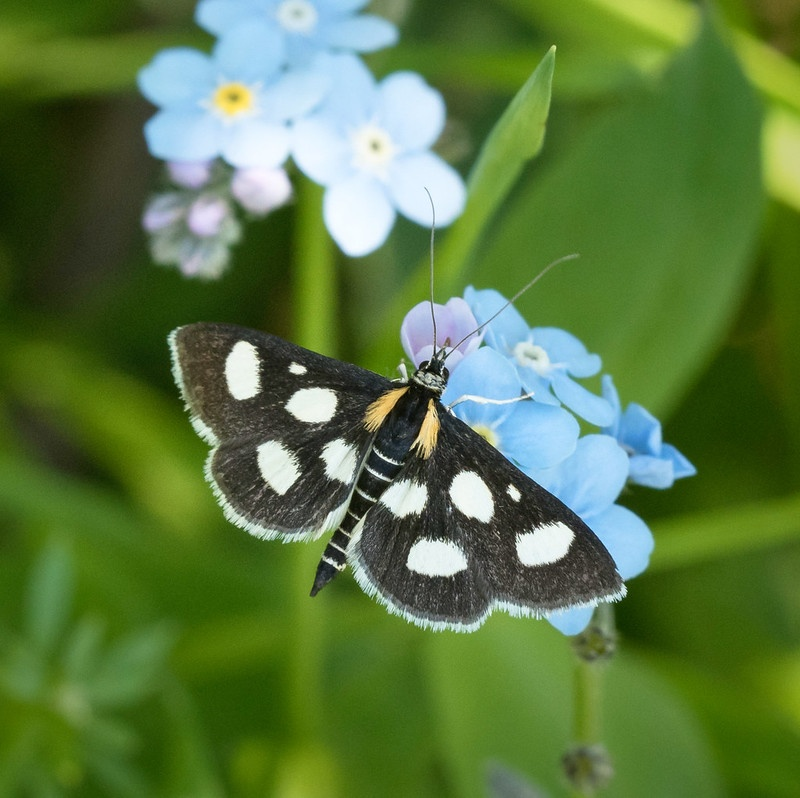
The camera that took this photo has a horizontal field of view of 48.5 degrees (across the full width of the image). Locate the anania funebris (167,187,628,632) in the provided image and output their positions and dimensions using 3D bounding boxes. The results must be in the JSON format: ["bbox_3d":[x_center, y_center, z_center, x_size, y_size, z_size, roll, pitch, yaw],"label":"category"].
[{"bbox_3d":[0.002,0.047,0.841,0.457,0.117,0.350,27,64,16],"label":"anania funebris"}]

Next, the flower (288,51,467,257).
[{"bbox_3d":[-0.003,-0.228,0.878,0.185,0.055,0.205,-1,88,-25],"label":"flower"}]

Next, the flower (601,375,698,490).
[{"bbox_3d":[0.211,0.042,0.731,0.052,0.075,0.032,-6,100,-13],"label":"flower"}]

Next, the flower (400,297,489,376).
[{"bbox_3d":[0.035,-0.059,0.734,0.062,0.052,0.032,7,89,-37],"label":"flower"}]
